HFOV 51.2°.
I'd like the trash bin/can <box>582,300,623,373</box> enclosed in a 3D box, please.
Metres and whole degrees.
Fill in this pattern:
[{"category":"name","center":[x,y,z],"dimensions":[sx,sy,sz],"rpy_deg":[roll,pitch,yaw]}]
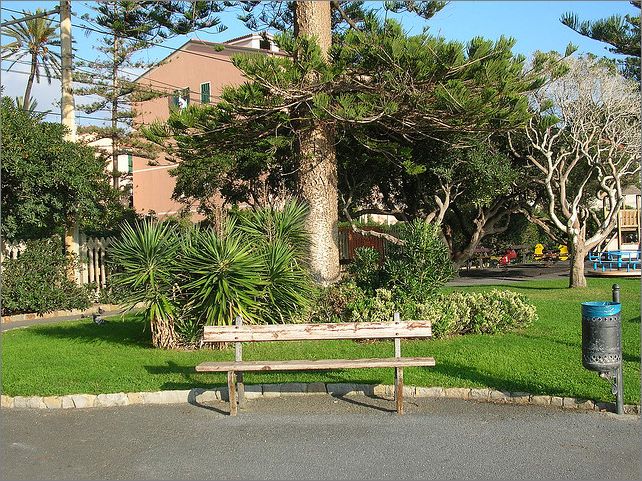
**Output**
[{"category":"trash bin/can","center":[4.104,1.423,9.763],"dimensions":[0.527,0.994,0.410],"rpy_deg":[2,9,19]}]

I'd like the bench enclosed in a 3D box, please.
[{"category":"bench","center":[-0.096,2.002,10.242],"dimensions":[3.576,1.476,0.956],"rpy_deg":[-1,-6,2]}]
